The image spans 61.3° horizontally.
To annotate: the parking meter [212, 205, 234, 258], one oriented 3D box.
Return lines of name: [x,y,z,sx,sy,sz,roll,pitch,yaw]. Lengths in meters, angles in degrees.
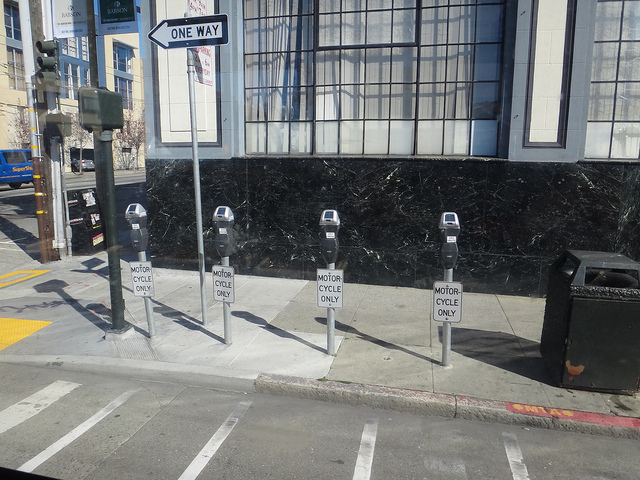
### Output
parking meter: [-1.445,-0.104,8.111,0.278,0.771,0.333,-2,10,-11]

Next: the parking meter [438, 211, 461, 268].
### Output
parking meter: [1.819,0.006,7.494,0.262,0.749,0.394,2,10,13]

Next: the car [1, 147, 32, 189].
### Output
car: [-16.189,-3.750,28.784,1.008,2.036,2.471,-2,9,-10]

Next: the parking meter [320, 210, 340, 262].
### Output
parking meter: [0.153,-0.051,7.700,0.240,0.727,0.261,0,9,-1]

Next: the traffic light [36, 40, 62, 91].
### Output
traffic light: [-5.836,-3.848,11.735,0.446,1.136,0.284,-16,42,-39]

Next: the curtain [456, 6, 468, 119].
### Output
curtain: [2.800,-3.424,10.516,0.157,2.110,0.060,1,10,9]

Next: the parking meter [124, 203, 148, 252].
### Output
parking meter: [-2.803,-0.132,8.272,0.322,0.836,0.300,-3,8,4]

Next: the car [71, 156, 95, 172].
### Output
car: [-18.792,-5.940,42.499,1.404,1.200,3.147,-2,9,-11]
